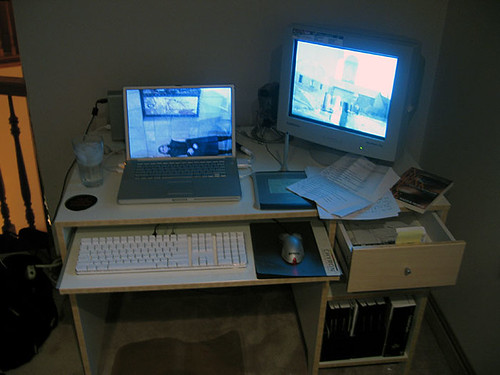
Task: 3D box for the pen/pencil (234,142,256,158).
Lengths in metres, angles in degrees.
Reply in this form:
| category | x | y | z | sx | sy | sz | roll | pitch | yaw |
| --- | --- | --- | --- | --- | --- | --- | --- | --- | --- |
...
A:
| category | x | y | z | sx | sy | sz | roll | pitch | yaw |
| --- | --- | --- | --- | --- | --- | --- | --- | --- | --- |
| pen/pencil | -0.027 | -0.185 | 2.111 | 0.115 | 0.021 | 0.023 | 39 | 33 | 18 |

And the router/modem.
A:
| category | x | y | z | sx | sy | sz | roll | pitch | yaw |
| --- | --- | --- | --- | --- | --- | --- | --- | --- | --- |
| router/modem | 0.159 | -0.070 | 1.960 | 0.267 | 0.057 | 0.264 | -1 | 39 | -1 |

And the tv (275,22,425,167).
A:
| category | x | y | z | sx | sy | sz | roll | pitch | yaw |
| --- | --- | --- | --- | --- | --- | --- | --- | --- | --- |
| tv | 0.526 | -0.406 | 2.072 | 0.414 | 0.732 | 0.677 | -18 | 32 | -42 |

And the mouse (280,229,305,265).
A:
| category | x | y | z | sx | sy | sz | roll | pitch | yaw |
| --- | --- | --- | --- | --- | --- | --- | --- | --- | --- |
| mouse | 0.181 | 0.251 | 1.810 | 0.102 | 0.048 | 0.173 | 1 | 38 | -5 |

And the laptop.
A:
| category | x | y | z | sx | sy | sz | roll | pitch | yaw |
| --- | --- | --- | --- | --- | --- | --- | --- | --- | --- |
| laptop | -0.309 | -0.197 | 1.831 | 0.532 | 0.332 | 0.449 | 1 | 36 | -3 |

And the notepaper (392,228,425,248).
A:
| category | x | y | z | sx | sy | sz | roll | pitch | yaw |
| --- | --- | --- | --- | --- | --- | --- | --- | --- | --- |
| notepaper | 0.656 | 0.200 | 1.717 | 0.104 | 0.070 | 0.079 | 16 | 29 | 22 |
